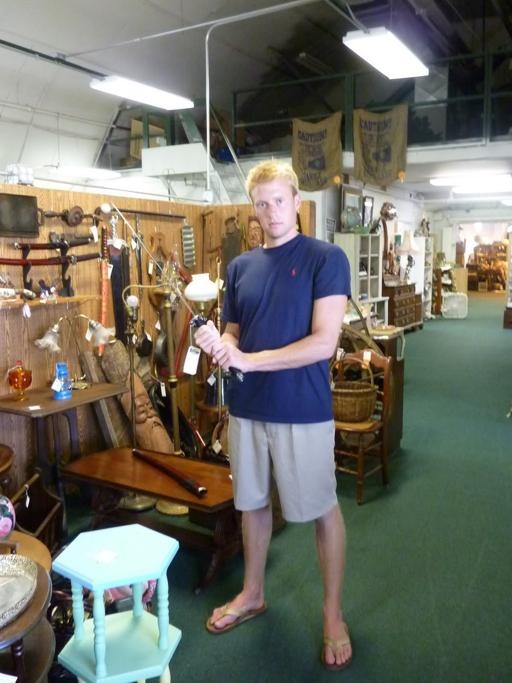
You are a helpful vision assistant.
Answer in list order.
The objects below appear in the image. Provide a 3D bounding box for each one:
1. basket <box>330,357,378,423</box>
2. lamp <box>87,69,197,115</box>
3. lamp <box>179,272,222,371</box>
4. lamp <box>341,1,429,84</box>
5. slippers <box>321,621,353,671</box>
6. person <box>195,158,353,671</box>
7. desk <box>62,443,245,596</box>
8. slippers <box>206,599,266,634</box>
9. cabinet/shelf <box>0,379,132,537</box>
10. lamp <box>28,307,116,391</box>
[{"bbox_3d":[0.688,0.352,3.634,0.352,0.508,0.449,0,0,6],"label":"basket"},{"bbox_3d":[-1.057,-2.389,4.787,0.606,0.240,1.102,2,6,25],"label":"lamp"},{"bbox_3d":[-0.274,-0.045,2.435,0.149,0.525,0.134,-1,10,-16],"label":"lamp"},{"bbox_3d":[1.248,-2.816,4.806,0.529,0.345,1.265,3,7,31],"label":"lamp"},{"bbox_3d":[0.303,1.125,1.878,0.101,0.065,0.266,-3,5,9],"label":"slippers"},{"bbox_3d":[0.059,0.275,1.805,0.559,1.814,0.605,2,5,21],"label":"person"},{"bbox_3d":[-0.448,0.758,2.506,0.870,0.445,0.499,7,15,31],"label":"desk"},{"bbox_3d":[-0.089,1.123,2.087,0.217,0.095,0.082,-10,16,-27],"label":"slippers"},{"bbox_3d":[-1.026,0.620,2.670,0.665,0.695,0.401,8,15,32],"label":"cabinet/shelf"},{"bbox_3d":[-1.032,0.052,2.857,0.451,0.497,0.181,-5,-17,-3],"label":"lamp"}]
